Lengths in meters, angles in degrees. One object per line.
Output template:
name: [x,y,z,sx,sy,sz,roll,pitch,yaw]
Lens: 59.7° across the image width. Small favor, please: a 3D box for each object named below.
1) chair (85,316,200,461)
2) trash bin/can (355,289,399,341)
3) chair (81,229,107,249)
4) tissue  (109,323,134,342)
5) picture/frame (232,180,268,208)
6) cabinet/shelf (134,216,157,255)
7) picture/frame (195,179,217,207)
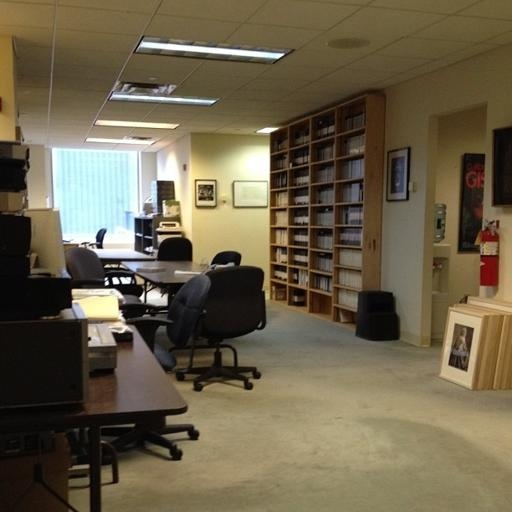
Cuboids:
chair: [-0.670,0.759,2.556,0.757,0.807,0.779,-1,-5,2]
trash bin/can: [1.522,0.727,5.536,0.480,0.631,0.601,0,-3,-12]
chair: [-3.897,-0.431,11.032,0.444,0.475,1.349,0,3,-20]
tissue : [-0.610,0.352,2.037,0.095,0.020,0.088,1,11,-11]
picture/frame: [-0.145,-1.315,9.443,0.621,0.427,0.047,0,1,-17]
cabinet/shelf: [-2.628,-0.508,10.810,0.303,0.871,1.020,0,2,-21]
picture/frame: [-1.039,-1.300,9.225,0.615,0.781,0.035,0,-3,-18]
